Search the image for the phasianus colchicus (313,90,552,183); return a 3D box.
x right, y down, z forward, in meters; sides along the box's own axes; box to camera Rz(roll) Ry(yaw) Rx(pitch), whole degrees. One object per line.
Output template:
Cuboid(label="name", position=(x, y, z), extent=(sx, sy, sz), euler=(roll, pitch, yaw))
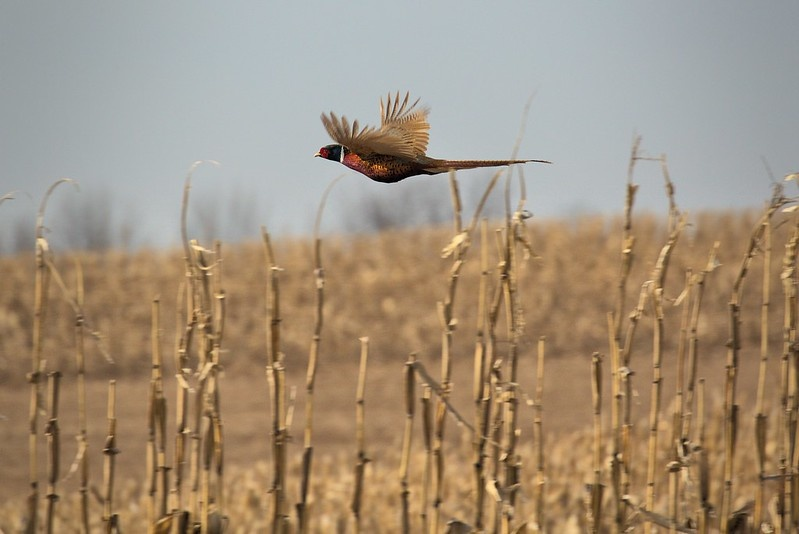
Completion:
Cuboid(label="phasianus colchicus", position=(0.171, -0.557, 11.346), extent=(1.142, 0.384, 0.979), euler=(-9, 8, 10))
